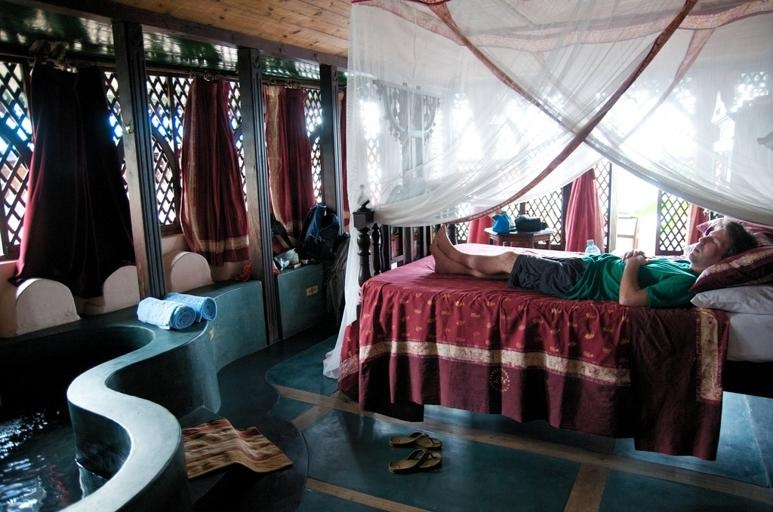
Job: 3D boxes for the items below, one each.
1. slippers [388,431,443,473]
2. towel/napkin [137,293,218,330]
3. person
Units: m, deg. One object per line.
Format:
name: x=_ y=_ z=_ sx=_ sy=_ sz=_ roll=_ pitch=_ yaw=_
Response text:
slippers: x=0.195 y=1.317 z=3.448 sx=0.368 sy=0.099 sz=0.346 roll=-2 pitch=9 yaw=1
towel/napkin: x=-1.598 y=0.415 z=3.930 sx=0.336 sy=0.134 sz=0.340 roll=1 pitch=5 yaw=-8
person: x=1.353 y=0.051 z=3.613 sx=1.852 sy=0.520 sz=0.681 roll=2 pitch=11 yaw=23
